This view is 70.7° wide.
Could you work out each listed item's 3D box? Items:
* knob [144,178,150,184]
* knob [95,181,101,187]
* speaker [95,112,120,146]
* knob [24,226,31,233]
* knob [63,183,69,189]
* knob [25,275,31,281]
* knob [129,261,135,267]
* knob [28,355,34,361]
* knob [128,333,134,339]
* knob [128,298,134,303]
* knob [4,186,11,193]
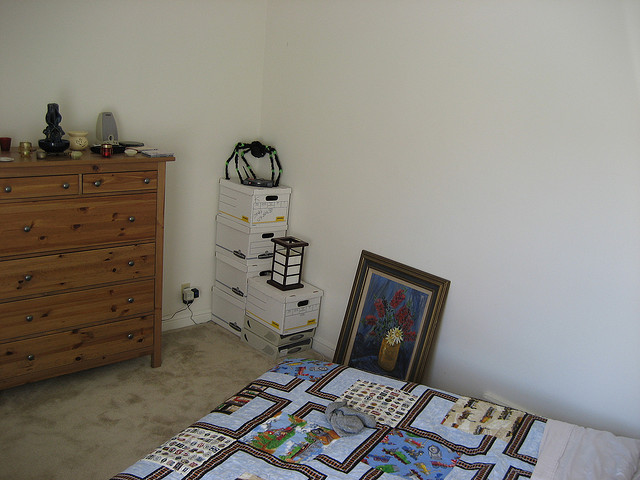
[{"bbox_3d":[-1.190,-0.406,3.065,0.038,0.037,0.010,6,4,-26],"label":"knob"},{"bbox_3d":[-1.437,-0.360,2.891,0.034,0.038,0.014,-4,18,-25],"label":"knob"},{"bbox_3d":[-1.507,-0.811,3.253,0.144,0.235,0.158,1,16,9],"label":"speaker"},{"bbox_3d":[-1.780,-0.068,2.714,0.027,0.016,0.027,35,52,3],"label":"knob"},{"bbox_3d":[-1.576,-0.332,2.777,0.023,0.027,0.023,-27,52,-34],"label":"knob"},{"bbox_3d":[-1.816,0.231,2.779,0.030,0.036,0.009,-5,19,-28],"label":"knob"},{"bbox_3d":[-1.322,0.163,3.136,0.031,0.017,0.031,-8,8,-25],"label":"knob"},{"bbox_3d":[-1.873,0.749,2.894,0.041,0.019,0.040,-5,-6,28],"label":"knob"},{"bbox_3d":[-1.377,0.692,3.258,0.027,0.023,0.031,-2,14,-29],"label":"knob"},{"bbox_3d":[-1.347,0.427,3.186,0.028,0.020,0.025,-4,19,-31],"label":"knob"},{"bbox_3d":[-1.820,-0.293,2.606,0.029,0.038,0.016,-12,23,-44],"label":"knob"}]
